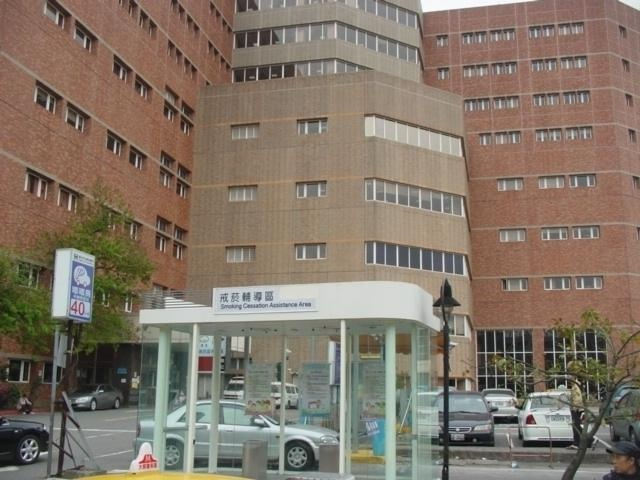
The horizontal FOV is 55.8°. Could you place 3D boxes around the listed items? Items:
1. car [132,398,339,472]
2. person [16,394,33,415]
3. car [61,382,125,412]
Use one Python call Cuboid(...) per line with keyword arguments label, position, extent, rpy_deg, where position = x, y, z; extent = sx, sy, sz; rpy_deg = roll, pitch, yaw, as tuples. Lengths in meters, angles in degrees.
Cuboid(label="car", position=(-2.331, 5.124, 16.072), extent=(4.931, 1.626, 2.057), rpy_deg=(-1, -10, 0))
Cuboid(label="person", position=(-15.492, 8.640, 31.778), extent=(0.662, 1.014, 1.366), rpy_deg=(7, -17, -27))
Cuboid(label="car", position=(-13.467, 9.410, 36.143), extent=(1.341, 1.522, 3.571), rpy_deg=(-7, -16, 21))
